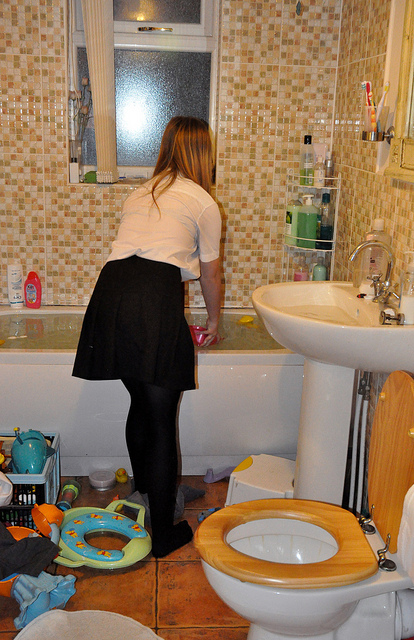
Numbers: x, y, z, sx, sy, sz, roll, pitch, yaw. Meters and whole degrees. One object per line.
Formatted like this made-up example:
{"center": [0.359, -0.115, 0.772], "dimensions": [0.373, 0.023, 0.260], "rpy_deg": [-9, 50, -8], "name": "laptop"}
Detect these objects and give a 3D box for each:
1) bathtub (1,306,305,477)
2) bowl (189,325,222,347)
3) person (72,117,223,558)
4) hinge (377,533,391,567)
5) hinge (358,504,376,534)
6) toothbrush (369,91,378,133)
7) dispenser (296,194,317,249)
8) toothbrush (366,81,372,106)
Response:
{"center": [-0.276, 0.325, 2.159], "dimensions": [1.253, 0.591, 0.627], "rpy_deg": [1, 7, -9], "name": "bathtub"}
{"center": [-0.018, 0.054, 1.953], "dimensions": [0.158, 0.073, 0.061], "rpy_deg": [11, 12, 6], "name": "bowl"}
{"center": [-0.145, 0.063, 1.503], "dimensions": [0.362, 1.336, 0.441], "rpy_deg": [4, 7, 23], "name": "person"}
{"center": [0.331, 0.429, 0.916], "dimensions": [0.021, 0.051, 0.043], "rpy_deg": [4, 7, 21], "name": "hinge"}
{"center": [0.334, 0.418, 1.028], "dimensions": [0.037, 0.047, 0.042], "rpy_deg": [7, -10, 20], "name": "hinge"}
{"center": [0.497, -0.619, 1.467], "dimensions": [0.022, 0.152, 0.007], "rpy_deg": [-14, 9, -39], "name": "toothbrush"}
{"center": [0.461, -0.452, 2.257], "dimensions": [0.093, 0.240, 0.150], "rpy_deg": [3, 7, 11], "name": "dispenser"}
{"center": [0.476, -0.670, 1.439], "dimensions": [0.016, 0.064, 0.036], "rpy_deg": [3, 7, 18], "name": "toothbrush"}
